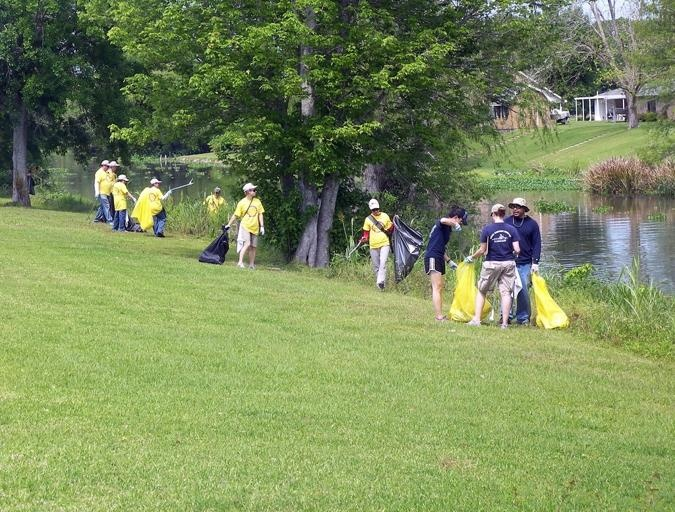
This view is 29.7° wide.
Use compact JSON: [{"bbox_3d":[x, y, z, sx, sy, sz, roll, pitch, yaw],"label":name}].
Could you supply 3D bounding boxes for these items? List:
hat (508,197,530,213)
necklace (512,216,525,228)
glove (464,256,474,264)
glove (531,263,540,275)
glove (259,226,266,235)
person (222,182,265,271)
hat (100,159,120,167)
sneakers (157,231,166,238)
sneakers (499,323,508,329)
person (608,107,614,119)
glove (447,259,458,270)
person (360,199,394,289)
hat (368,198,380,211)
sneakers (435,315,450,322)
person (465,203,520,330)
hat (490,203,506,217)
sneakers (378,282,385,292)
[{"bbox_3d":[4.355,-1.230,30.456,0.715,0.343,0.773,4,1,11],"label":"hat"},{"bbox_3d":[4.328,-0.807,30.385,0.223,0.271,0.070,-1,-5,7],"label":"necklace"},{"bbox_3d":[3.146,0.099,30.355,0.209,0.118,0.269,-2,7,13],"label":"glove"},{"bbox_3d":[4.689,0.296,30.215,0.327,0.300,0.315,3,1,9],"label":"glove"},{"bbox_3d":[-2.030,-0.705,34.795,0.078,0.207,0.159,-6,3,-38],"label":"glove"},{"bbox_3d":[-2.486,-0.809,34.998,0.886,2.289,1.174,1,0,-5],"label":"person"},{"bbox_3d":[-7.265,-2.923,40.511,0.632,0.196,0.391,-1,3,-2],"label":"hat"},{"bbox_3d":[-5.657,-0.675,40.686,0.237,0.142,0.267,6,5,-5],"label":"sneakers"},{"bbox_3d":[3.900,1.634,29.845,0.114,0.125,0.306,-3,-7,12],"label":"sneakers"},{"bbox_3d":[23.119,-11.847,107.582,0.623,0.930,0.673,1,1,24],"label":"person"},{"bbox_3d":[2.787,0.222,30.338,0.275,0.079,0.202,35,-3,-12],"label":"glove"},{"bbox_3d":[1.148,-0.287,34.494,0.916,2.421,0.804,1,0,-24],"label":"person"},{"bbox_3d":[0.984,-1.418,34.260,0.291,0.164,0.429,-6,40,-2],"label":"hat"},{"bbox_3d":[2.526,1.481,30.302,0.380,0.150,0.128,-5,11,-40],"label":"sneakers"},{"bbox_3d":[3.700,0.253,29.643,1.002,2.870,0.555,1,0,6],"label":"person"},{"bbox_3d":[3.742,-1.069,29.640,0.275,0.214,0.361,-3,12,-5],"label":"hat"},{"bbox_3d":[1.197,0.827,34.514,0.127,0.238,0.181,0,-1,-2],"label":"sneakers"}]
